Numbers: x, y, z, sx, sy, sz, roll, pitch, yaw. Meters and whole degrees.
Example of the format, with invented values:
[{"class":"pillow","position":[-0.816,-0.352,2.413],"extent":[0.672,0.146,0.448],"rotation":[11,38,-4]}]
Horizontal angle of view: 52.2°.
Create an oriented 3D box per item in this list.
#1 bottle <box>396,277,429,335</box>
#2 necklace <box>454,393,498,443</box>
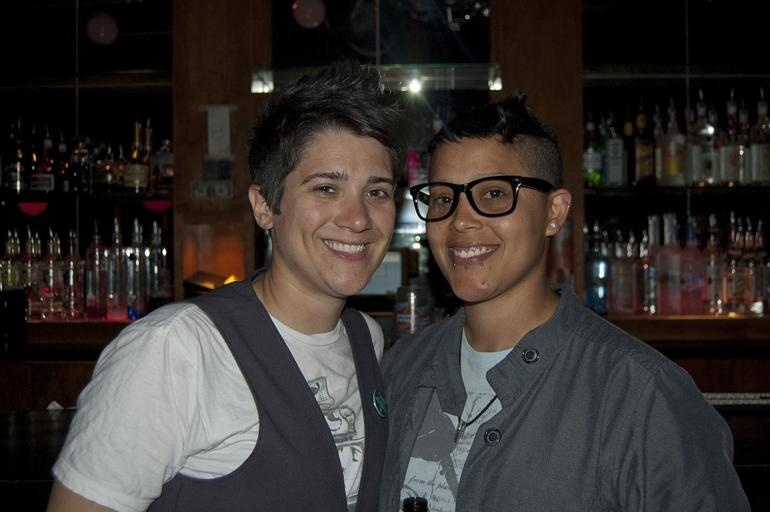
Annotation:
[{"class":"bottle","position":[0.214,0.343,4.944],"extent":[0.254,0.439,0.278],"rotation":[2,-2,0]},{"class":"necklace","position":[0.380,0.689,3.306],"extent":[0.255,0.070,0.028],"rotation":[-49,27,-19]}]
